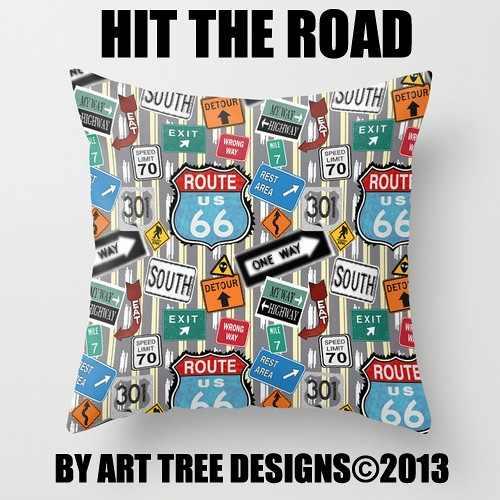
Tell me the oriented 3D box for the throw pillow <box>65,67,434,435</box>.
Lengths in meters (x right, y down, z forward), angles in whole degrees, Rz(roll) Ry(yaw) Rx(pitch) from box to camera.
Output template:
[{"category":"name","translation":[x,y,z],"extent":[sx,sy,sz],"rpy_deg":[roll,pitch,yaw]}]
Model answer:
[{"category":"throw pillow","translation":[0.008,0.017,2.308],"extent":[1.059,1.169,0.161],"rpy_deg":[-1,24,-7]}]
